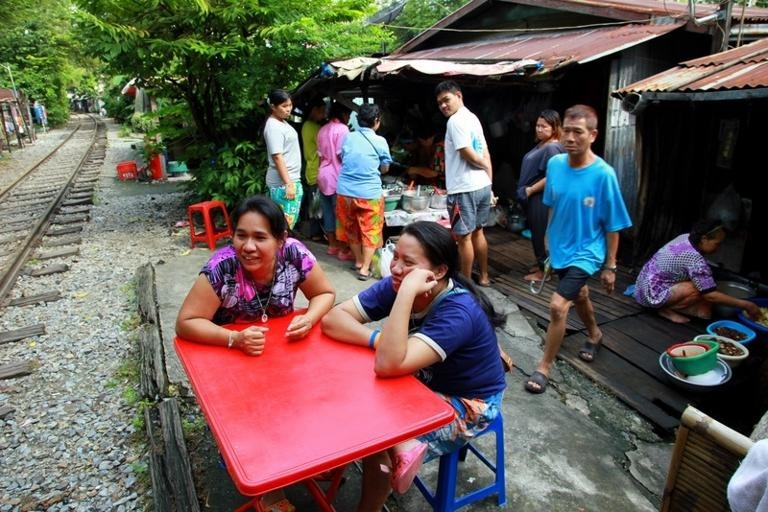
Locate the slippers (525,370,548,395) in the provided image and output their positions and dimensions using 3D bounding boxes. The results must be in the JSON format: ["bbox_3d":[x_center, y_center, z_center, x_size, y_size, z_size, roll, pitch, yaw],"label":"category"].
[{"bbox_3d":[1.505,1.262,4.548,0.138,0.113,0.269,2,12,28],"label":"slippers"}]

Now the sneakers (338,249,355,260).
[{"bbox_3d":[-0.565,-0.006,7.448,0.328,0.146,0.123,0,10,-34],"label":"sneakers"}]

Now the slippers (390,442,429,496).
[{"bbox_3d":[0.163,1.274,2.866,0.153,0.169,0.355,7,30,12],"label":"slippers"}]

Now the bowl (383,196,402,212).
[{"bbox_3d":[0.135,-0.859,7.535,0.264,0.176,0.262,-2,4,0],"label":"bowl"}]

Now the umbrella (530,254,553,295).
[{"bbox_3d":[2.147,0.249,6.240,0.298,0.554,0.135,22,12,30],"label":"umbrella"}]

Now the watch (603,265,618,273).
[{"bbox_3d":[2.224,0.131,4.530,0.108,0.071,0.098,17,-7,-19],"label":"watch"}]

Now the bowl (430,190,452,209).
[{"bbox_3d":[0.911,-0.932,7.498,0.310,0.291,0.306,1,8,0],"label":"bowl"}]

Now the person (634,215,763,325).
[{"bbox_3d":[3.830,0.073,5.625,1.286,1.187,0.924,5,34,7],"label":"person"}]

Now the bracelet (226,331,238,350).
[{"bbox_3d":[-1.027,0.581,3.148,0.098,0.104,0.092,-7,4,-28],"label":"bracelet"}]

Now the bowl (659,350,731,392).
[{"bbox_3d":[3.014,1.033,4.509,0.421,0.101,0.427,-3,17,1],"label":"bowl"}]

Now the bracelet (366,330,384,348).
[{"bbox_3d":[-0.043,0.547,3.129,0.050,0.124,0.095,42,13,-13],"label":"bracelet"}]

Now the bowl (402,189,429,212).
[{"bbox_3d":[0.519,-0.910,7.530,0.471,0.315,0.323,0,17,4],"label":"bowl"}]

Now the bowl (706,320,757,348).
[{"bbox_3d":[3.816,0.829,5.037,0.309,0.125,0.350,-8,20,-11],"label":"bowl"}]

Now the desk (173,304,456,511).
[{"bbox_3d":[-0.376,0.866,2.705,1.098,0.361,1.597,-14,34,-24],"label":"desk"}]
